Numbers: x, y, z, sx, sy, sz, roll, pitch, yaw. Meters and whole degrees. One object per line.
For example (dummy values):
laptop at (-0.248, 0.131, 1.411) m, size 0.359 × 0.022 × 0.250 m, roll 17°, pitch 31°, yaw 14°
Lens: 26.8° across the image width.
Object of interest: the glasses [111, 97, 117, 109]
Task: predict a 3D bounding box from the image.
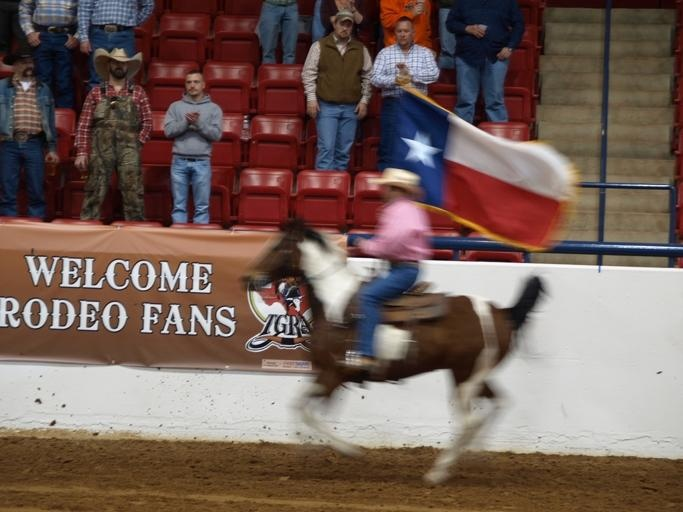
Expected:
glasses at (-3.042, -2.032, 18.969) m, size 0.092 × 0.145 × 0.087 m, roll 3°, pitch 10°, yaw -8°

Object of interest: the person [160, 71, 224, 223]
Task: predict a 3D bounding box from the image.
person at (-2.002, -1.433, 19.130) m, size 0.754 × 1.998 × 0.931 m, roll 0°, pitch 11°, yaw -23°

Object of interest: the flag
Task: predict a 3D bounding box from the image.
flag at (1.612, -0.980, 17.242) m, size 2.188 × 1.525 × 0.235 m, roll 19°, pitch 7°, yaw 7°

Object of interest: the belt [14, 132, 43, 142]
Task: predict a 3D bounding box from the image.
belt at (-4.195, -1.606, 19.120) m, size 0.402 × 0.142 × 0.059 m, roll -2°, pitch 12°, yaw -29°

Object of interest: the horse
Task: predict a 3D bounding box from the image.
horse at (0.634, 1.159, 16.561) m, size 3.308 × 2.541 × 0.738 m, roll 0°, pitch 3°, yaw -4°

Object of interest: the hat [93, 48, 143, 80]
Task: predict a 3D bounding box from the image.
hat at (-3.110, -2.668, 19.497) m, size 0.517 × 0.218 × 0.522 m, roll 2°, pitch -33°, yaw -15°

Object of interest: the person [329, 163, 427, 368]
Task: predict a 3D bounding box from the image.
person at (0.486, 0.148, 16.027) m, size 0.879 × 2.203 × 0.453 m, roll -3°, pitch 13°, yaw -35°
